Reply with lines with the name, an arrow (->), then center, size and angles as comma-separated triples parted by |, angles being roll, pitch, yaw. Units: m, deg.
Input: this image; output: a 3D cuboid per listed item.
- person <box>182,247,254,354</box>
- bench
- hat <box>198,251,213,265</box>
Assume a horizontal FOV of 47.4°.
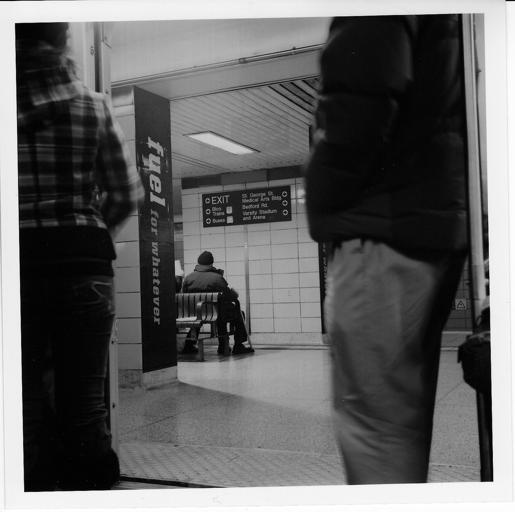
person -> -0.608, 0.662, 9.244 | 0.981, 1.708, 0.827 | -10, 19, -32
bench -> -0.704, 1.041, 8.945 | 0.696, 0.838, 1.093 | 0, 2, 14
hat -> -0.795, 0.032, 9.022 | 0.149, 0.193, 0.225 | 5, 24, 20
